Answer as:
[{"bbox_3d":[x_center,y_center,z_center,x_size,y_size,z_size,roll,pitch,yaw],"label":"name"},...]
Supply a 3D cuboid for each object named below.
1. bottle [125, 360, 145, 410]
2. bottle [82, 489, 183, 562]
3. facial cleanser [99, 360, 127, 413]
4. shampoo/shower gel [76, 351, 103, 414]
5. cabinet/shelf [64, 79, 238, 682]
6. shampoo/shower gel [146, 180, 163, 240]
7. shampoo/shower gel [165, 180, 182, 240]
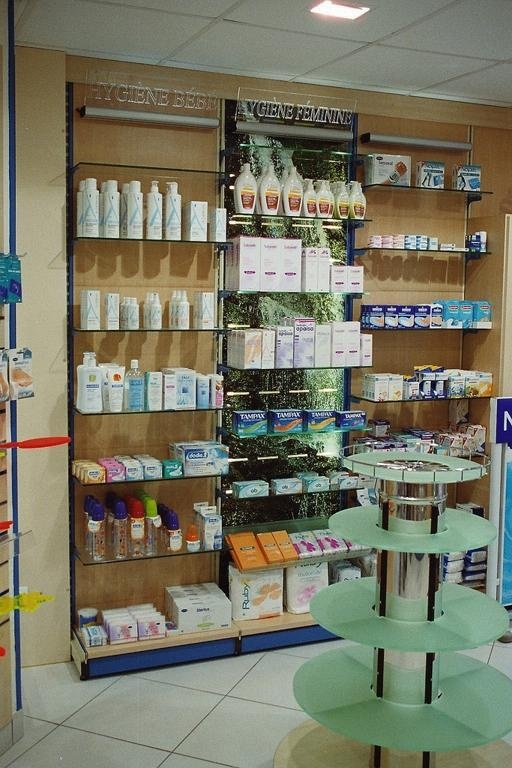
[{"bbox_3d":[-0.563,0.009,3.211,0.080,0.237,0.100,3,4,35],"label":"bottle"},{"bbox_3d":[-0.627,0.587,3.396,0.479,0.313,0.299,-1,3,-20],"label":"bottle"},{"bbox_3d":[-0.657,0.021,3.155,0.102,0.212,0.097,0,3,-16],"label":"facial cleanser"},{"bbox_3d":[-0.755,-0.006,3.143,0.113,0.269,0.139,0,3,-15],"label":"shampoo/shower gel"},{"bbox_3d":[-0.505,-0.037,3.392,0.814,2.803,0.414,-1,3,-23],"label":"cabinet/shelf"},{"bbox_3d":[-0.480,-0.812,3.264,0.078,0.271,0.124,0,3,-9],"label":"shampoo/shower gel"},{"bbox_3d":[-0.396,-0.807,3.265,0.076,0.255,0.114,0,3,-12],"label":"shampoo/shower gel"}]
